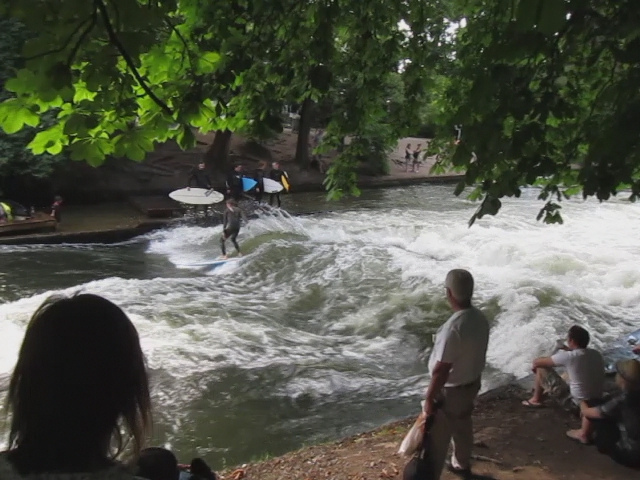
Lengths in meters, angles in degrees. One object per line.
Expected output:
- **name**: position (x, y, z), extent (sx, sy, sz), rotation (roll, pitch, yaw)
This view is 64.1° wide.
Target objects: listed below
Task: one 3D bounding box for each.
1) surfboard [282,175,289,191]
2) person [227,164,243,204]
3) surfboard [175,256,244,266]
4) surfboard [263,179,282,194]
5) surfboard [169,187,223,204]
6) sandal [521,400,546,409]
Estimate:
- **surfboard**: position (-1.540, -2.514, 22.589), extent (0.178, 0.610, 1.432), rotation (-6, 10, -5)
- **person**: position (-3.388, -2.240, 20.564), extent (0.628, 1.505, 1.287), rotation (-7, 12, -8)
- **surfboard**: position (-3.500, 0.682, 16.260), extent (2.037, 0.076, 0.534), rotation (-4, 6, -2)
- **surfboard**: position (-2.089, -2.386, 22.429), extent (0.722, 0.591, 0.684), rotation (-5, 11, -5)
- **surfboard**: position (-4.741, -1.733, 20.167), extent (1.826, 0.700, 1.444), rotation (-2, 10, 7)
- **sandal**: position (2.703, 2.090, 6.521), extent (0.222, 0.047, 0.079), rotation (2, 3, 22)
